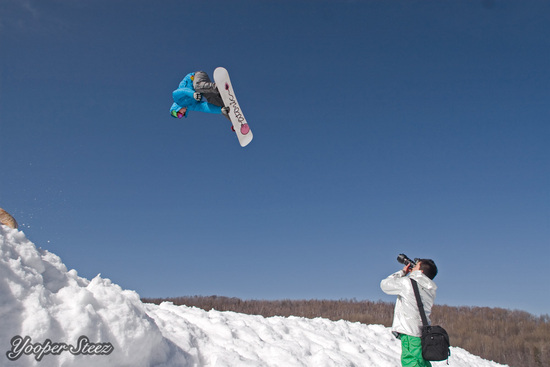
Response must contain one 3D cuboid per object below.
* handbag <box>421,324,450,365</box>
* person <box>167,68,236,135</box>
[{"bbox_3d":[3.728,3.782,10.956,0.565,0.879,0.833,-3,-13,18],"label":"handbag"},{"bbox_3d":[-2.510,-2.921,14.871,2.180,1.164,1.585,-10,-13,14],"label":"person"}]
